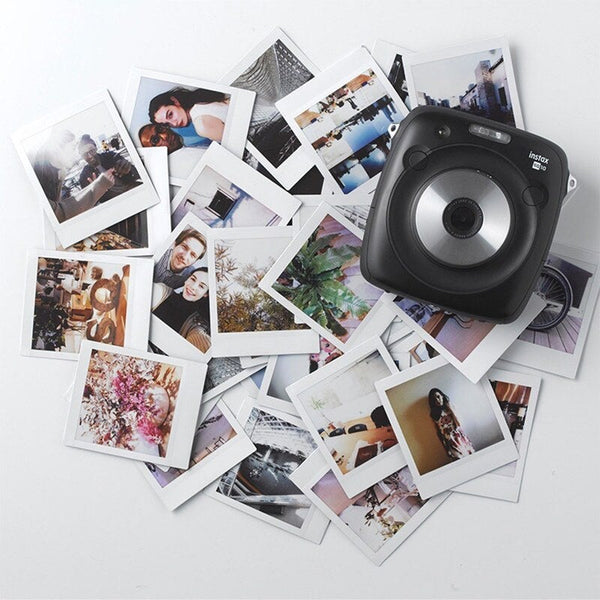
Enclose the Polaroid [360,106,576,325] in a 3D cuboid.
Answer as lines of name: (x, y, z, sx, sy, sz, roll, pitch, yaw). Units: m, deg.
Polaroid: (0.211, -0.110, 0.700, 0.231, 0.065, 0.244, 18, 85, 12)
